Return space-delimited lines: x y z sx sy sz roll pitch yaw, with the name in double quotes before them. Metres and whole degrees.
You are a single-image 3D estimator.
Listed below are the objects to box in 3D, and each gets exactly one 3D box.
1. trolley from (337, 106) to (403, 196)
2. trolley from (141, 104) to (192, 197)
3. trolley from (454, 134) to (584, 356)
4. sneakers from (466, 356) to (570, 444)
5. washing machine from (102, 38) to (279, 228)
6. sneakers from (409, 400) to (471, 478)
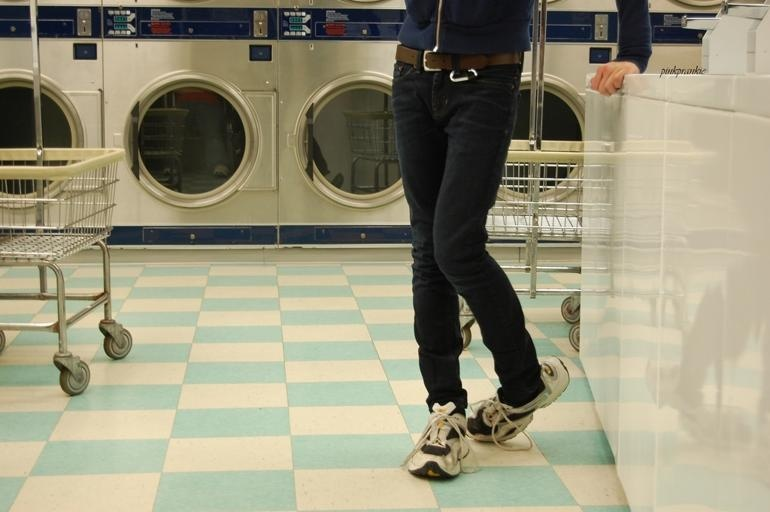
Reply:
"trolley" -0.008 -0.622 4.152 0.469 0.581 0.478 1 7 -19
"trolley" -1.422 -0.683 4.015 0.299 0.466 0.297 -2 17 -32
"trolley" 0.685 -0.128 3.070 0.693 0.882 0.534 0 13 13
"sneakers" 0.338 0.460 1.956 0.417 0.152 0.182 -36 -26 34
"washing machine" -1.031 -0.782 4.287 1.255 1.348 0.985 -1 6 -3
"sneakers" 0.146 0.503 1.773 0.113 0.112 0.232 0 7 8
